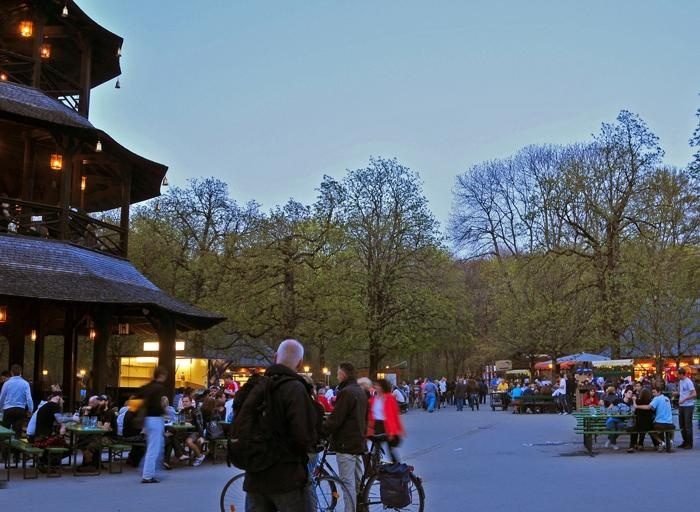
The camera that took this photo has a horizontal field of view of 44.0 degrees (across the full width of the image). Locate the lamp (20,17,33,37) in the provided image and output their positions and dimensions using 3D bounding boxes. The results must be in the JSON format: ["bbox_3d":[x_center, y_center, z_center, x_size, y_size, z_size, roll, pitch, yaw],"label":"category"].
[{"bbox_3d":[-11.828,-8.287,31.649,0.444,0.538,0.438,7,-17,-33],"label":"lamp"}]

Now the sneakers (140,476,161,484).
[{"bbox_3d":[-4.864,5.453,21.079,0.475,0.198,0.165,2,-4,-6],"label":"sneakers"}]

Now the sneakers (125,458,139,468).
[{"bbox_3d":[-5.950,5.634,23.561,0.255,0.124,0.323,0,-1,-21],"label":"sneakers"}]

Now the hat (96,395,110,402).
[{"bbox_3d":[-6.914,3.994,24.287,0.325,0.163,0.433,10,-16,-28],"label":"hat"}]

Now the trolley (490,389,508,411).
[{"bbox_3d":[8.672,8.638,51.770,1.229,1.484,2.237,-1,-1,11],"label":"trolley"}]
